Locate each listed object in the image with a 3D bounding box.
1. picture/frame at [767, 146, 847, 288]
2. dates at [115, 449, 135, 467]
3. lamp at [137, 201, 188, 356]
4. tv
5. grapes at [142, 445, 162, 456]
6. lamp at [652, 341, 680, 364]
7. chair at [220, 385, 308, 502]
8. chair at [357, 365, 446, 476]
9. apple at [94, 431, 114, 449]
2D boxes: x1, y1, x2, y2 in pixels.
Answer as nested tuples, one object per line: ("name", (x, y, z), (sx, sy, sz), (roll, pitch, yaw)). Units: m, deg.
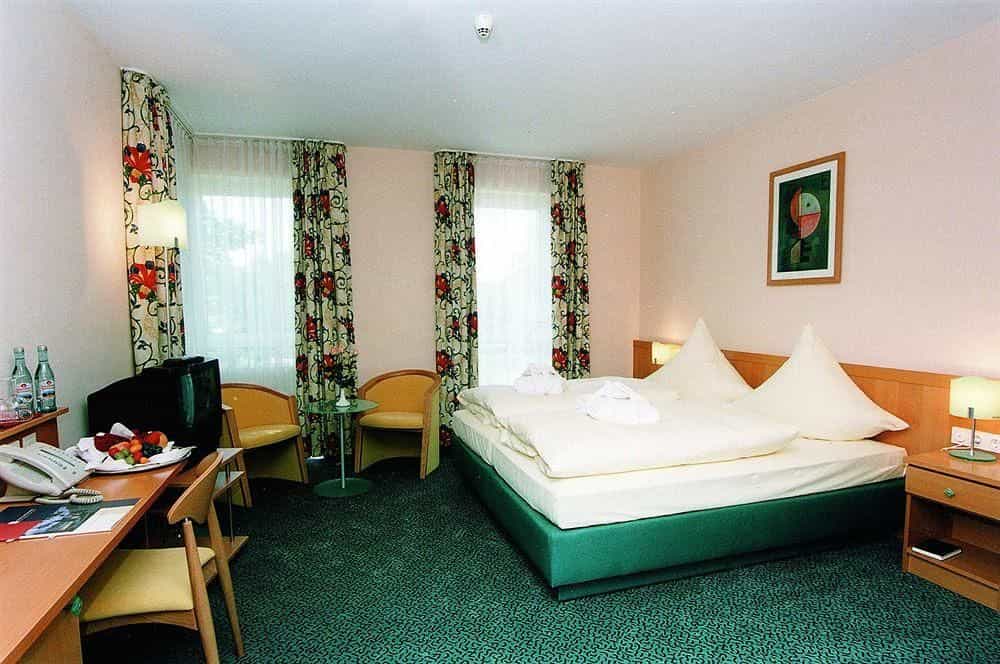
("picture/frame", (2.565, -0.912, 5.505), (0.158, 1.044, 0.692), (-6, 8, -27))
("dates", (-2.179, 0.727, 3.810), (0.078, 0.031, 0.079), (16, -5, 21))
("lamp", (-2.558, -0.388, 5.013), (0.320, 1.203, 0.465), (-7, 9, -34))
("tv", (-2.448, 0.561, 4.816), (0.765, 0.724, 0.770), (-1, 1, -10))
("grapes", (-2.084, 0.705, 3.918), (0.078, 0.058, 0.075), (14, -23, -42))
("lamp", (1.729, 0.215, 6.823), (0.195, 0.230, 0.343), (0, 1, -15))
("chair", (-2.161, 0.906, 5.685), (0.747, 0.870, 0.754), (2, 6, 30))
("chair", (-0.941, 0.837, 6.265), (0.724, 0.871, 0.688), (1, 2, 6))
("apple", (-2.349, 0.642, 3.916), (0.092, 0.089, 0.092), (-9, -5, 2))
